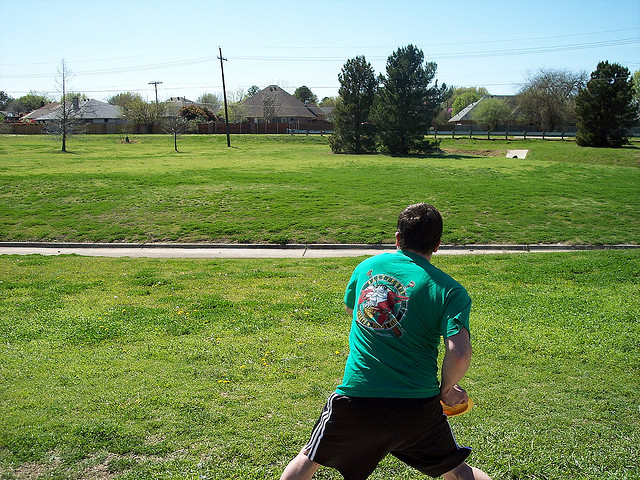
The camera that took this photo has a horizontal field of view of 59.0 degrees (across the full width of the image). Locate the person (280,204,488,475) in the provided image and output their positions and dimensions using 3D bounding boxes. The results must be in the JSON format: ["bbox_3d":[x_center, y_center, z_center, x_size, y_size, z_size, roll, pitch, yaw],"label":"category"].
[{"bbox_3d":[0.646,0.876,4.735,1.413,2.186,0.457,0,8,-3],"label":"person"}]
